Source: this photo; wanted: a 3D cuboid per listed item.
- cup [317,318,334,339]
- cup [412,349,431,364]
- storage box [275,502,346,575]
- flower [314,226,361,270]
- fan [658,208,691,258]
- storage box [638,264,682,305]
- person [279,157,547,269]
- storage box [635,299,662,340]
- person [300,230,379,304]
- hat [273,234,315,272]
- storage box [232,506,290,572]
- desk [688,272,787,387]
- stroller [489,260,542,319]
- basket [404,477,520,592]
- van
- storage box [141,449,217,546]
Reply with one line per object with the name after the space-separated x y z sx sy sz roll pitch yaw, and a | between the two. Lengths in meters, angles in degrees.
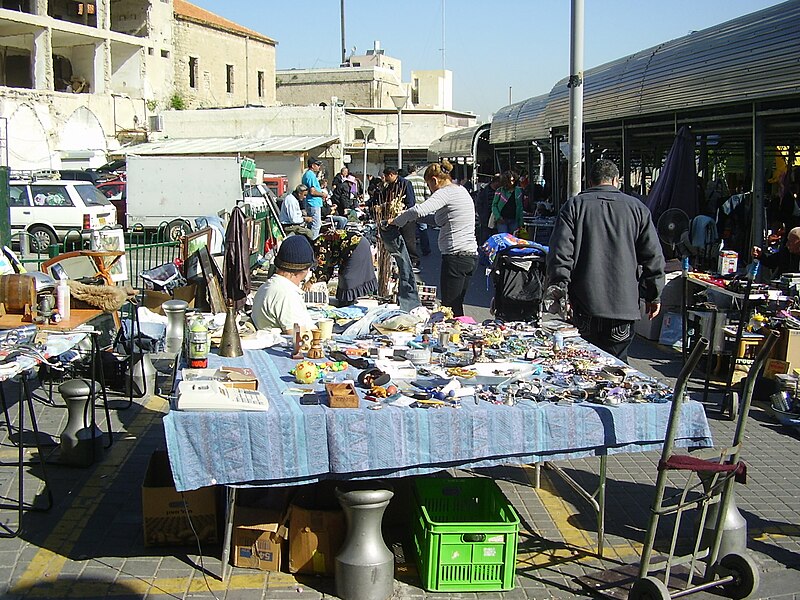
-0.593 0.226 5.573 0.121 0.142 0.136 6 11 17 | cup
0.146 0.410 5.133 0.101 0.066 0.106 1 7 0 | cup
-0.539 1.579 4.712 0.371 0.445 0.156 0 3 -8 | storage box
-0.767 -0.633 8.630 0.574 0.439 0.750 2 -9 -27 | flower
4.096 -0.995 10.759 0.577 0.816 0.286 7 3 18 | fan
2.855 -0.148 7.830 0.425 0.176 0.551 0 11 14 | storage box
0.315 -1.257 9.263 1.317 1.063 3.994 -3 14 -16 | person
3.041 0.249 8.752 0.253 0.347 0.493 -3 10 -8 | storage box
-0.744 -0.380 8.526 0.878 1.041 0.702 2 3 28 | person
-0.851 -0.381 5.848 0.236 0.171 0.297 3 16 -10 | hat
-0.925 1.583 4.804 0.330 0.356 0.289 4 -2 8 | storage box
3.601 0.356 7.635 0.370 0.998 1.030 3 16 4 | desk
1.160 -0.121 7.792 0.454 0.670 0.656 2 5 -3 | stroller
0.402 1.527 4.817 0.505 0.405 0.750 0 1 -3 | basket
-8.985 -2.278 19.039 2.466 1.665 1.370 -4 14 -20 | van
-1.533 1.466 5.084 0.452 0.413 0.867 1 10 -9 | storage box
